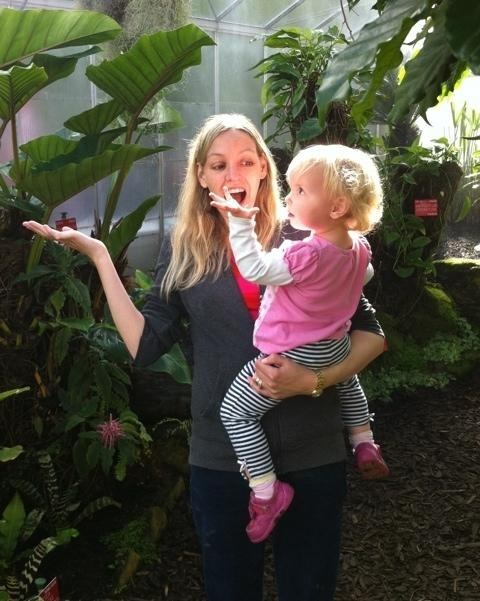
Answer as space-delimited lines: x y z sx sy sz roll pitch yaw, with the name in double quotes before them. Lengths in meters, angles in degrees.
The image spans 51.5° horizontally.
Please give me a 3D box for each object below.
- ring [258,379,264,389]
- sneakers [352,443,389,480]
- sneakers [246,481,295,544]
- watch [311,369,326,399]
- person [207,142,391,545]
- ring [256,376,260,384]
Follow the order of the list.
"ring" 0.042 0.167 1.003 0.006 0.014 0.016 -1 -1 -27
"sneakers" 0.338 0.415 1.282 0.064 0.110 0.056 -18 18 6
"sneakers" 0.044 0.449 1.059 0.096 0.147 0.066 17 25 -17
"watch" 0.162 0.171 1.014 0.036 0.047 0.054 1 -27 10
"person" 0.138 0.087 1.132 0.460 0.795 0.306 -12 13 -39
"ring" 0.039 0.164 1.008 0.004 0.011 0.012 -3 -2 -39
